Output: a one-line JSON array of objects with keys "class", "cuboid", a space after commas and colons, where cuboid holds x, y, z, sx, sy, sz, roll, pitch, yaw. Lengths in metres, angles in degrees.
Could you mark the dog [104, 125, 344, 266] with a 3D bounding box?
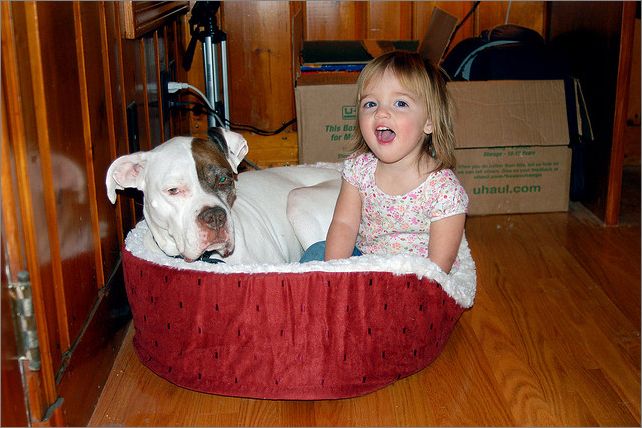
[{"class": "dog", "cuboid": [-0.419, -0.042, 2.766, 0.550, 0.835, 1.200, 13, 24, 36]}]
